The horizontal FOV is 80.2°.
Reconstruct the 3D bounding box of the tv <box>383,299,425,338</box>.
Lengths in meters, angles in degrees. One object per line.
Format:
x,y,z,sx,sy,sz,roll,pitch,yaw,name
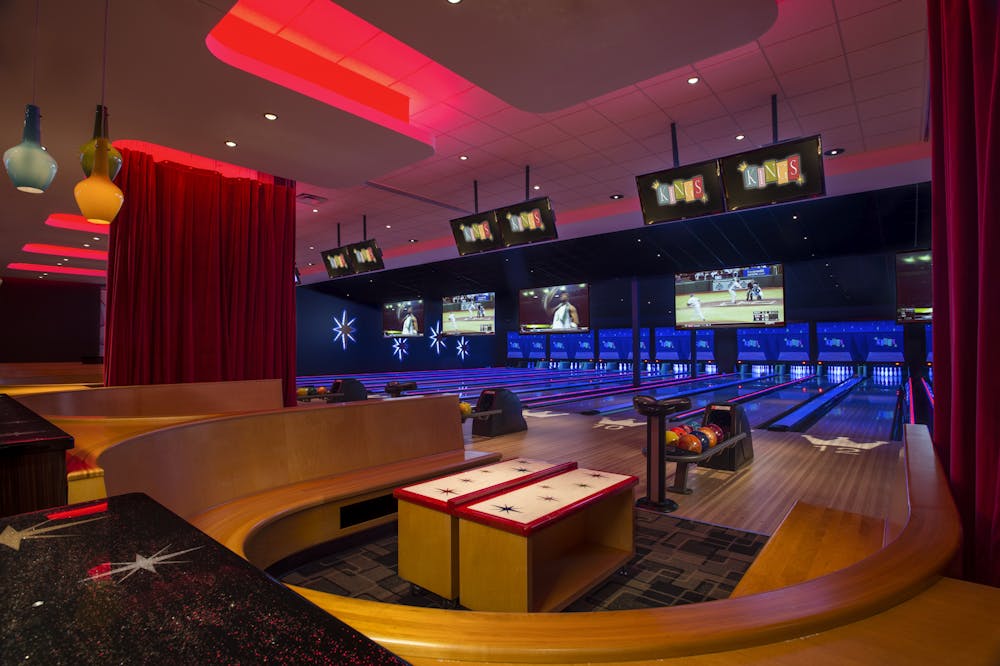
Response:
-2.360,-0.353,14.539,0.995,0.669,0.038,-2,-6,35,tv

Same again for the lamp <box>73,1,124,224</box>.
-2.366,-1.191,3.474,0.216,1.150,0.772,-3,-2,-32,lamp

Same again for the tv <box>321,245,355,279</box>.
-2.451,-1.055,8.912,0.514,0.474,0.121,2,18,29,tv

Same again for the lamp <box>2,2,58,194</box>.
-2.914,-1.268,3.666,0.225,0.953,1.200,-3,-3,-37,lamp

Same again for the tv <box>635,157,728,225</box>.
1.609,-1.297,5.301,0.857,0.565,0.089,-7,9,34,tv

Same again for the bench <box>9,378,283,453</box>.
-2.257,0.535,4.027,0.342,0.372,1.455,-7,-5,39,bench

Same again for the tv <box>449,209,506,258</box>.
-0.294,-1.213,7.069,0.937,0.624,0.129,-6,17,44,tv

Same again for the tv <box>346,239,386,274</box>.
-1.911,-1.084,8.342,0.514,0.477,0.118,3,11,27,tv

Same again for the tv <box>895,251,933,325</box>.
5.656,-0.639,8.077,0.376,1.037,0.505,-5,-2,26,tv
